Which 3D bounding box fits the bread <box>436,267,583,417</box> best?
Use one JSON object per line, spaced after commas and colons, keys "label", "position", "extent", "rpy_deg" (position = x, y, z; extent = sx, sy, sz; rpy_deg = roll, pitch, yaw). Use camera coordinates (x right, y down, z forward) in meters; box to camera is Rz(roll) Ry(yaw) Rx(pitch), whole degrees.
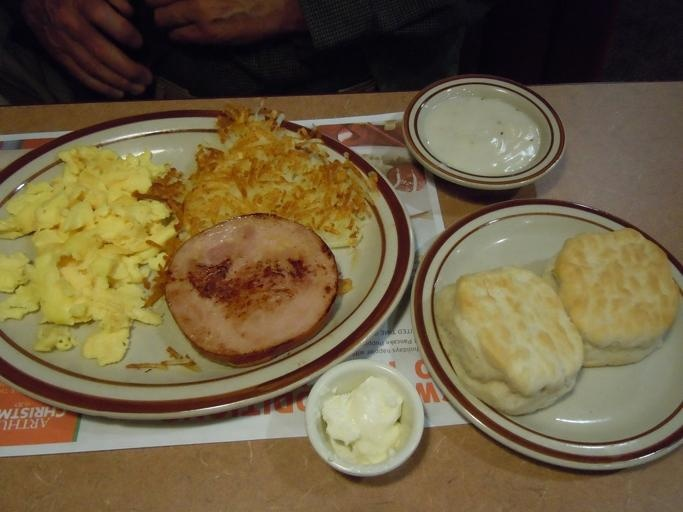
{"label": "bread", "position": [0.405, 0.213, 1.463], "extent": [0.325, 0.106, 0.341], "rpy_deg": [-20, 61, -3]}

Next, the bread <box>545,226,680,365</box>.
{"label": "bread", "position": [0.669, 0.084, 1.483], "extent": [0.291, 0.098, 0.312], "rpy_deg": [-5, 66, 4]}

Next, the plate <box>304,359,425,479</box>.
{"label": "plate", "position": [0.045, 0.360, 1.374], "extent": [0.288, 0.109, 0.267], "rpy_deg": [-1, 77, 3]}
